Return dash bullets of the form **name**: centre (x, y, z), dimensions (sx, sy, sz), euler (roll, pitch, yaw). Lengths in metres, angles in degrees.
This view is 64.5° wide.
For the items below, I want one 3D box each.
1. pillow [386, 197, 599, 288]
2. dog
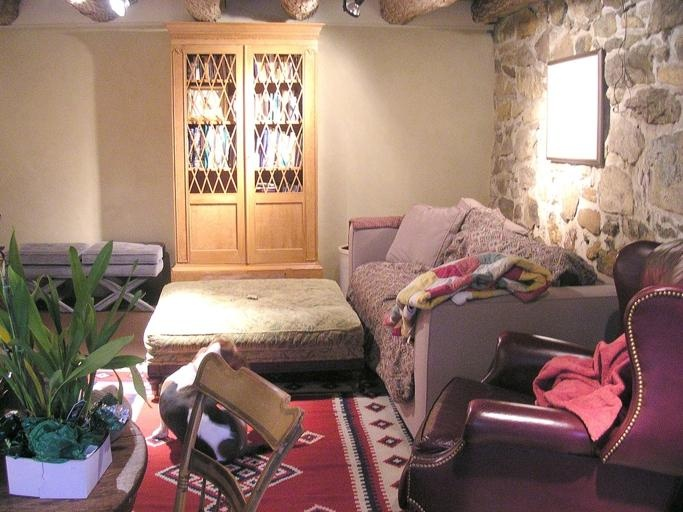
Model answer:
- **pillow**: centre (0.896, -0.140, 3.838), dimensions (0.676, 0.302, 0.943), euler (-5, 13, -17)
- **dog**: centre (-0.772, 0.847, 3.036), dimensions (0.484, 0.618, 1.005), euler (23, 0, -25)
